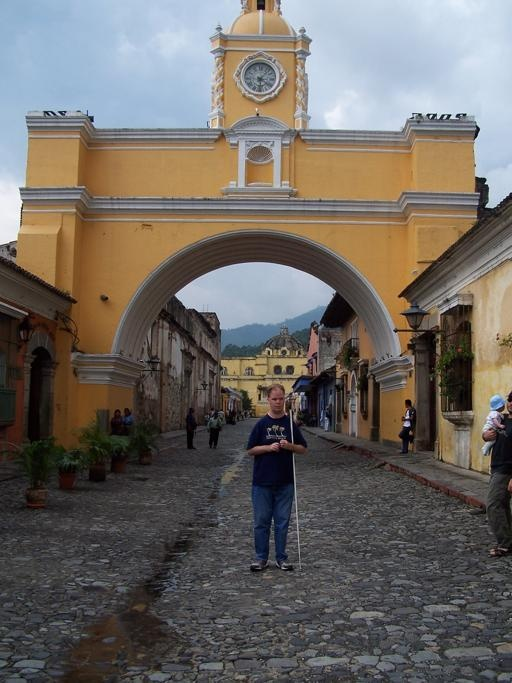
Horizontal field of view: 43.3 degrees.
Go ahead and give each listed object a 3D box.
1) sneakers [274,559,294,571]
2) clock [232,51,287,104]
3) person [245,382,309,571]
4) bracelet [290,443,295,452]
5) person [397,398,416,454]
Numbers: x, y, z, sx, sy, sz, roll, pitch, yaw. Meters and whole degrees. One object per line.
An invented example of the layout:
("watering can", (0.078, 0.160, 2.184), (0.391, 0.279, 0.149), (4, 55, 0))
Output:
("sneakers", (0.221, 1.732, 5.002), (0.061, 0.064, 0.146), (1, -16, -10))
("clock", (0.108, -7.410, 18.428), (1.473, 1.564, 0.138), (0, -7, -1))
("person", (0.157, 1.070, 5.165), (0.452, 1.423, 0.567), (0, -5, 3))
("bracelet", (0.282, 0.840, 5.090), (0.046, 0.055, 0.053), (-2, -22, -9))
("person", (3.813, 2.123, 16.202), (0.386, 1.305, 1.412), (-1, -5, 14))
